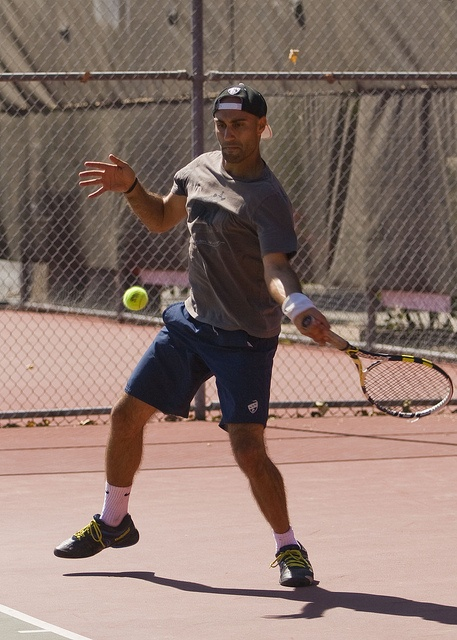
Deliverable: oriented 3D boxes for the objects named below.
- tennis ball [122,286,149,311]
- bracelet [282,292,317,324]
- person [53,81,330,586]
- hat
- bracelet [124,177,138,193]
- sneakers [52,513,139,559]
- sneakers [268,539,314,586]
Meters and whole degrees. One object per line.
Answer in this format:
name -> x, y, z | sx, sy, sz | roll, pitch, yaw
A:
tennis ball -> -0.703, -0.162, 5.734 | 0.212, 0.176, 0.195 | -1, -12, 0
bracelet -> 0.184, -0.032, 1.983 | 0.081, 0.054, 0.075 | 0, -37, -39
person -> -0.045, 0.055, 2.437 | 1.083, 1.620, 0.619 | 6, 10, 34
hat -> 0.046, -0.674, 2.367 | 0.122, 0.096, 0.182 | 7, 5, 18
bracelet -> -0.344, -0.479, 2.668 | 0.020, 0.052, 0.048 | 34, -13, -31
sneakers -> -0.444, 0.738, 2.564 | 0.318, 0.117, 0.110 | -8, 16, -33
sneakers -> 0.198, 0.763, 2.345 | 0.128, 0.097, 0.242 | -7, -4, 1
